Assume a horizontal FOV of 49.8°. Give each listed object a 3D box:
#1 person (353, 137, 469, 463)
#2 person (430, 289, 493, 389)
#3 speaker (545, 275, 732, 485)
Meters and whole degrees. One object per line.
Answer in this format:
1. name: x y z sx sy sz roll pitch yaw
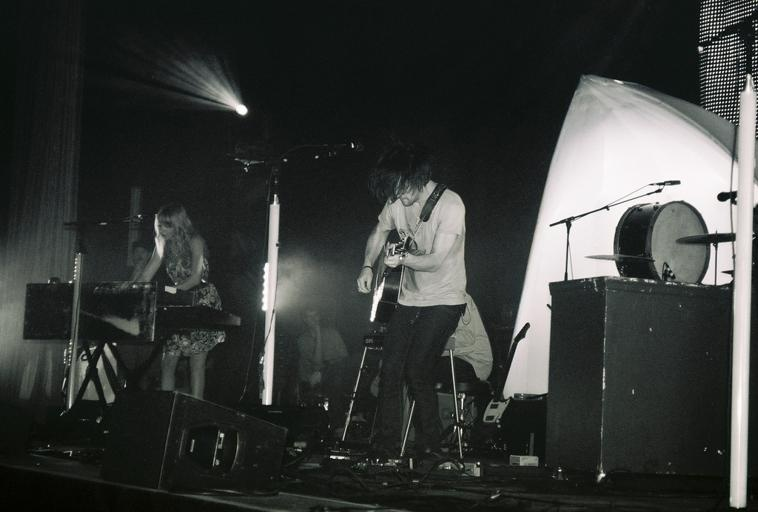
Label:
1. person: 0.272 0.364 6.702 0.819 2.517 0.647 3 -11 13
2. person: 0.747 0.799 7.529 0.574 0.922 0.743 9 -38 -2
3. speaker: 1.927 0.937 5.937 1.377 1.267 0.763 5 -9 -28
